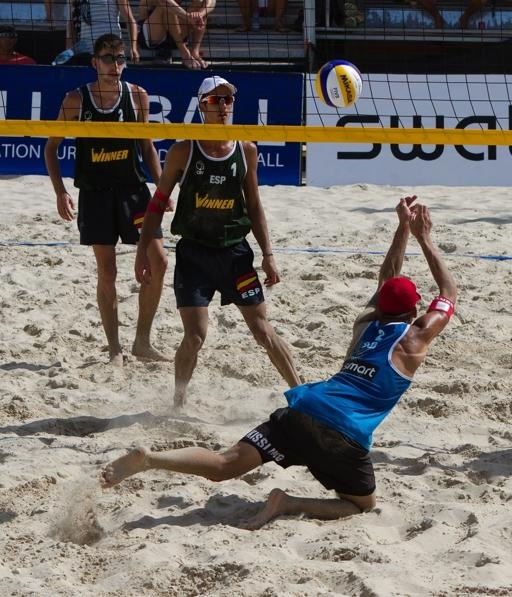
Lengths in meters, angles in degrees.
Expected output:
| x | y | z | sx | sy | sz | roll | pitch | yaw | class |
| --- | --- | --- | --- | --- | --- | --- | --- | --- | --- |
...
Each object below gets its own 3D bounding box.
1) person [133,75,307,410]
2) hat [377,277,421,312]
| x | y | z | sx | sy | sz | roll | pitch | yaw | class |
| --- | --- | --- | --- | --- | --- | --- | --- | --- | --- |
| -0.180 | -0.212 | 3.607 | 0.987 | 1.535 | 0.418 | -5 | 6 | -36 | person |
| 0.510 | -0.014 | 2.744 | 0.119 | 0.081 | 0.154 | 6 | 25 | 22 | hat |
